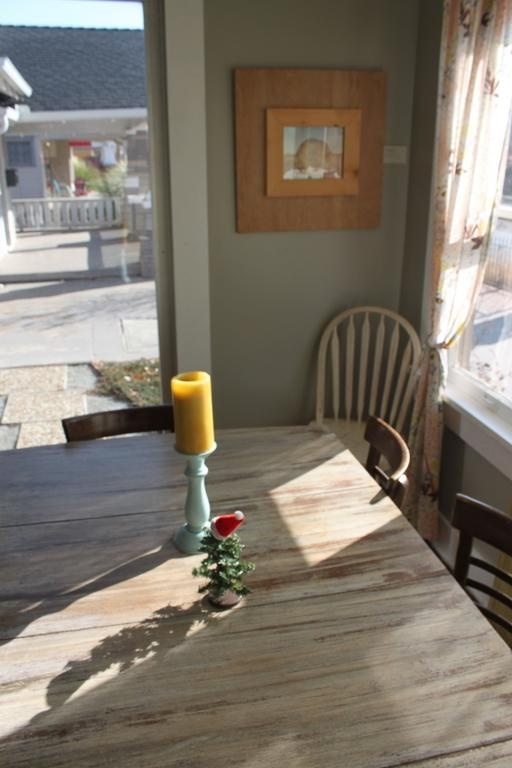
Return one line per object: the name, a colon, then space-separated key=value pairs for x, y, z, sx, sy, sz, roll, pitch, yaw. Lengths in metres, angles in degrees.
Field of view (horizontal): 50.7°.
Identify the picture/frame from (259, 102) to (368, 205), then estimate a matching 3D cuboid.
picture/frame: x=0.220 y=-0.951 z=2.188 sx=0.379 sy=0.342 sz=0.030 roll=-3 pitch=21 yaw=-11
